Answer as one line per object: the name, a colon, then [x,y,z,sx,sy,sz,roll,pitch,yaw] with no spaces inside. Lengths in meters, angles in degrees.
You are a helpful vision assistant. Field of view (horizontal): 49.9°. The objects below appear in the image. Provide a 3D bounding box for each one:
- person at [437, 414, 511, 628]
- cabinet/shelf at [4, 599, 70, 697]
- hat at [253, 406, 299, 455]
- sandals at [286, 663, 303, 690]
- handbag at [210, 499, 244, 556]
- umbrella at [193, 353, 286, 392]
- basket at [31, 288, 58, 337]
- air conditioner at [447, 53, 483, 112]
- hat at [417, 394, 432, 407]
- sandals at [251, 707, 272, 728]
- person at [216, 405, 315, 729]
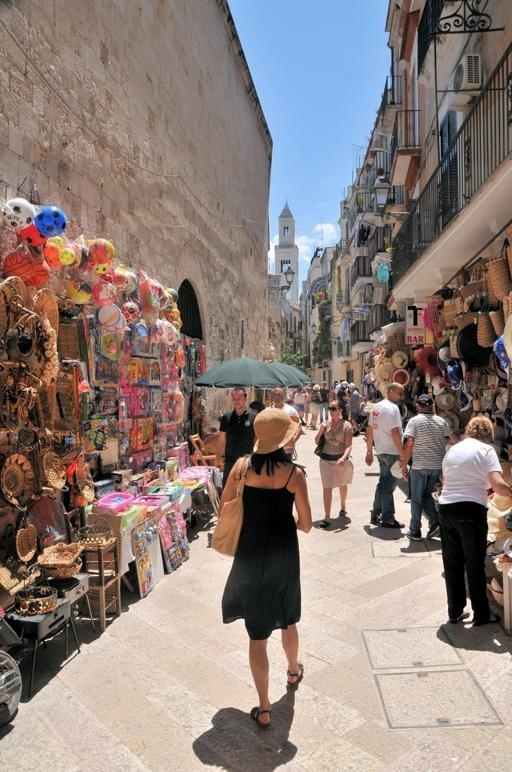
person: [1.426,0.866,3.533,0.270,1.316,0.510,1,-4,-32]
cabinet/shelf: [-1.177,1.315,2.938,0.309,0.401,0.420,1,-1,11]
hat: [0.087,0.209,2.570,0.194,0.214,0.209,-1,-3,0]
sandals: [0.200,1.482,2.812,0.042,0.054,0.130,-4,13,10]
handbag: [-0.129,0.647,2.505,0.139,0.270,0.095,0,-3,-7]
umbrella: [-0.351,-0.207,9.188,1.005,0.394,1.028,-1,-3,-19]
basket: [-1.348,-0.477,3.609,0.059,0.271,0.200,0,17,10]
air conditioner: [2.841,-4.222,7.537,0.215,0.527,0.593,0,0,-3]
hat: [1.738,0.146,5.664,0.102,0.084,0.159,-4,25,16]
sandals: [0.025,1.439,2.425,0.086,0.074,0.131,0,-4,-11]
person: [0.026,0.795,2.521,0.438,1.368,0.257,-1,-3,5]
